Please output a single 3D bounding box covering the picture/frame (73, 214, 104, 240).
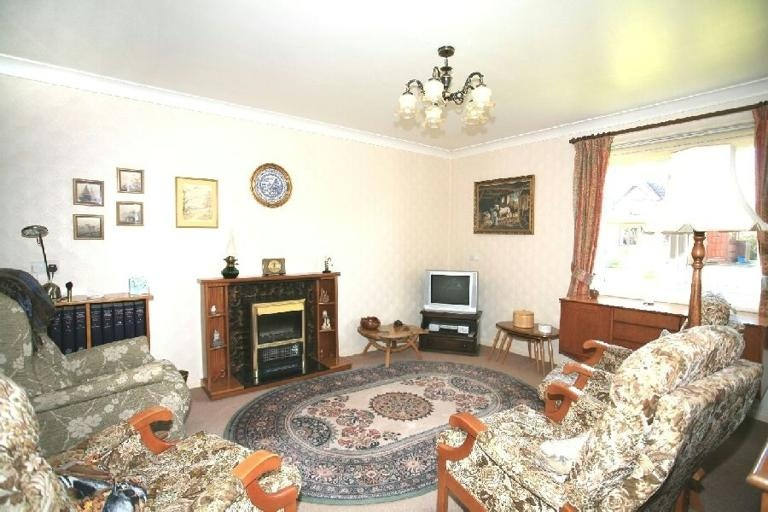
[{"bbox_3d":[-3.187,-0.311,5.300,0.278,0.298,0.031,-2,-2,-35],"label":"picture/frame"}]

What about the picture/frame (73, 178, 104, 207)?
[{"bbox_3d":[-3.182,-0.684,5.295,0.318,0.351,0.028,-2,2,-37],"label":"picture/frame"}]

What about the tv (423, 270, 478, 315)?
[{"bbox_3d":[0.982,0.459,7.536,1.033,0.856,0.562,0,-4,22],"label":"tv"}]

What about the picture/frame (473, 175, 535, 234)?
[{"bbox_3d":[1.716,-0.725,7.308,1.081,0.824,0.046,-4,8,-24],"label":"picture/frame"}]

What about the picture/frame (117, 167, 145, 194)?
[{"bbox_3d":[-2.826,-0.836,5.484,0.315,0.310,0.031,-1,2,-33],"label":"picture/frame"}]

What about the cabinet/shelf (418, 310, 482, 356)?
[{"bbox_3d":[0.934,1.090,7.234,0.842,0.535,0.441,2,16,18],"label":"cabinet/shelf"}]

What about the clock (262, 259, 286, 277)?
[{"bbox_3d":[-1.375,0.147,6.181,0.346,0.249,0.185,3,-6,-39],"label":"clock"}]

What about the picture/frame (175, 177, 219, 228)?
[{"bbox_3d":[-2.235,-0.634,5.819,0.629,0.812,0.040,-1,1,-34],"label":"picture/frame"}]

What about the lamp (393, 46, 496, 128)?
[{"bbox_3d":[0.536,-1.620,4.626,0.869,0.659,0.833,-1,4,-5],"label":"lamp"}]

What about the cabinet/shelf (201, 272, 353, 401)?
[{"bbox_3d":[-1.282,0.919,6.126,1.813,1.260,0.515,-4,6,-35],"label":"cabinet/shelf"}]
